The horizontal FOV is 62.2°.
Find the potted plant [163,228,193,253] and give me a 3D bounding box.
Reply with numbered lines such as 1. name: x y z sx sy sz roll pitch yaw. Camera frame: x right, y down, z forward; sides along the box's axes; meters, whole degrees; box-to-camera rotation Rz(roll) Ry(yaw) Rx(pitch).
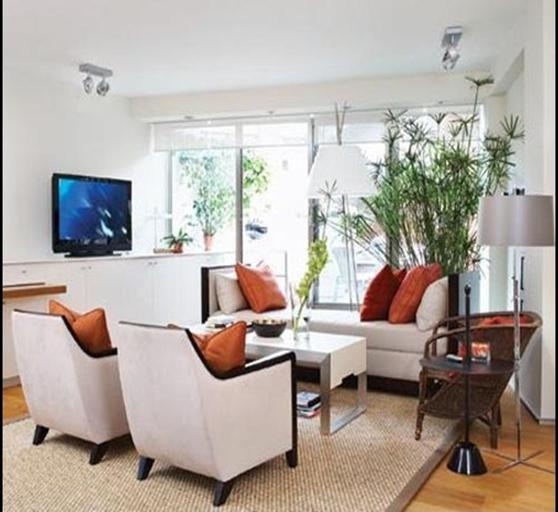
1. potted plant: -1.405 -0.207 6.371 0.340 0.287 0.363 4 5 31

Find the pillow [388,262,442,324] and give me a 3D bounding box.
1. pillow: 1.159 0.197 3.915 0.330 0.730 0.706 3 -1 24

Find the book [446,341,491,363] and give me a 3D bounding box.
1. book: 1.161 0.561 2.731 0.196 0.110 0.138 -3 3 -30

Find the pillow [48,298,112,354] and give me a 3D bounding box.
1. pillow: -1.112 0.436 2.652 0.160 0.313 0.325 -20 -4 -8

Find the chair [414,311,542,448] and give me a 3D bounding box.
1. chair: 1.223 0.705 2.975 0.719 0.929 0.818 0 0 17

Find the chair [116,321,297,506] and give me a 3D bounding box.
1. chair: -0.303 0.626 2.438 0.681 1.189 0.810 2 4 37

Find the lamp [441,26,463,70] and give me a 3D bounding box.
1. lamp: 1.556 -1.919 4.156 0.164 0.343 0.080 3 -30 13

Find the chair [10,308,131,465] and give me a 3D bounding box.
1. chair: -1.253 0.667 2.976 0.643 1.138 0.756 2 3 28

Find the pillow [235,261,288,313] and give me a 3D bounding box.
1. pillow: -0.186 0.321 4.719 0.207 0.431 0.421 -12 -5 35

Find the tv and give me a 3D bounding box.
1. tv: -2.170 -0.470 5.306 0.182 0.904 0.941 0 0 31

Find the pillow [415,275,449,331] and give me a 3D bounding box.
1. pillow: 1.181 0.367 3.569 0.136 0.323 0.224 11 44 13

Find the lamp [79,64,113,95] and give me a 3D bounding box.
1. lamp: -1.964 -1.923 4.973 0.116 0.284 0.278 8 10 26

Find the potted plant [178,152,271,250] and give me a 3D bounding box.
1. potted plant: -0.892 -0.917 6.761 1.193 1.367 0.580 -18 -2 14

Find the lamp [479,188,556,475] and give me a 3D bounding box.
1. lamp: 1.387 0.361 2.666 0.368 1.552 0.732 1 3 34
